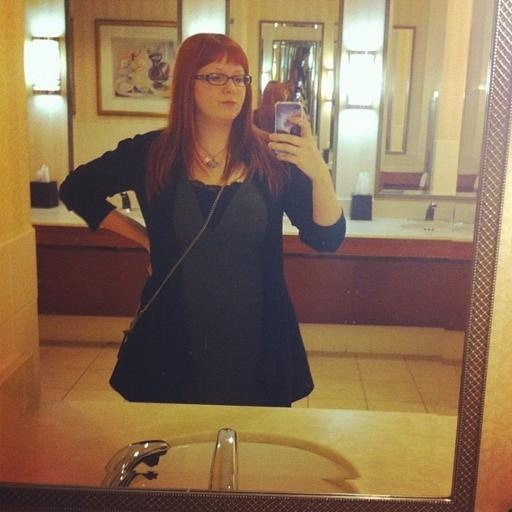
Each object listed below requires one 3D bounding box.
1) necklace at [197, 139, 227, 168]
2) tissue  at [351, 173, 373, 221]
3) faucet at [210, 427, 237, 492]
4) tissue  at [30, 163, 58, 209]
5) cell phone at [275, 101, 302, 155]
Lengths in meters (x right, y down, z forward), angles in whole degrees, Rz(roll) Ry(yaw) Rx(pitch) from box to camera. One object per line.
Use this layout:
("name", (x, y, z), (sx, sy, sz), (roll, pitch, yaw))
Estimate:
("necklace", (-0.090, -0.210, 1.049), (0.047, 0.058, 0.004), (1, 14, 0))
("tissue ", (0.212, -0.120, 1.040), (0.045, 0.094, 0.018), (1, 14, -3))
("faucet", (-0.066, 0.424, 1.067), (0.044, 0.155, 0.048), (-10, -23, 27))
("tissue ", (-0.419, -0.137, 1.026), (0.057, 0.086, 0.009), (3, 14, 7))
("cell phone", (0.066, -0.257, 1.016), (0.079, 0.131, 0.013), (5, 30, 12))
